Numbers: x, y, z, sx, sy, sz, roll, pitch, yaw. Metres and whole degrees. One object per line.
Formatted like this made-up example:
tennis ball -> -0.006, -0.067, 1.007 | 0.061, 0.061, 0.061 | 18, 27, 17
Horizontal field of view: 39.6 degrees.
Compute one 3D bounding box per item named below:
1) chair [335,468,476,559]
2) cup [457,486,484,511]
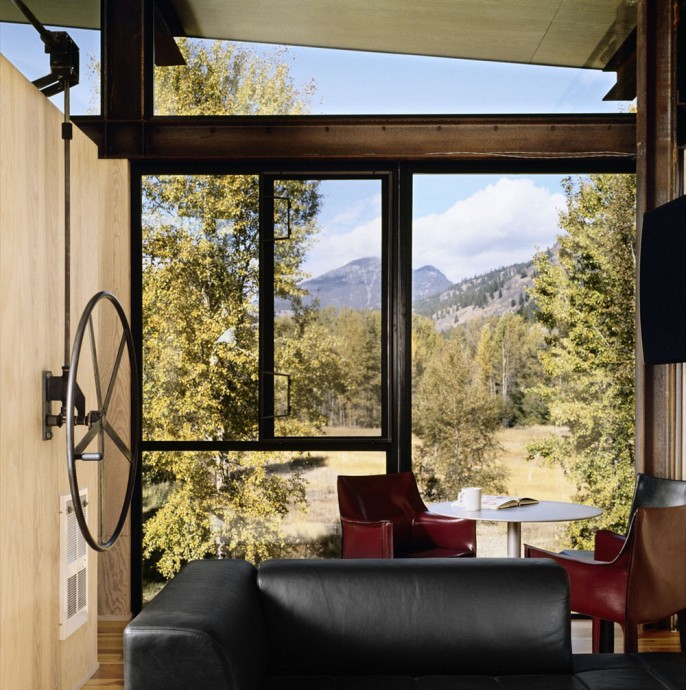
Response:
chair -> 0.290, 0.831, 4.591 | 0.420, 0.687, 0.462 | 6, -10, -37
cup -> 0.578, 0.720, 4.378 | 0.096, 0.088, 0.073 | -4, -7, 17
